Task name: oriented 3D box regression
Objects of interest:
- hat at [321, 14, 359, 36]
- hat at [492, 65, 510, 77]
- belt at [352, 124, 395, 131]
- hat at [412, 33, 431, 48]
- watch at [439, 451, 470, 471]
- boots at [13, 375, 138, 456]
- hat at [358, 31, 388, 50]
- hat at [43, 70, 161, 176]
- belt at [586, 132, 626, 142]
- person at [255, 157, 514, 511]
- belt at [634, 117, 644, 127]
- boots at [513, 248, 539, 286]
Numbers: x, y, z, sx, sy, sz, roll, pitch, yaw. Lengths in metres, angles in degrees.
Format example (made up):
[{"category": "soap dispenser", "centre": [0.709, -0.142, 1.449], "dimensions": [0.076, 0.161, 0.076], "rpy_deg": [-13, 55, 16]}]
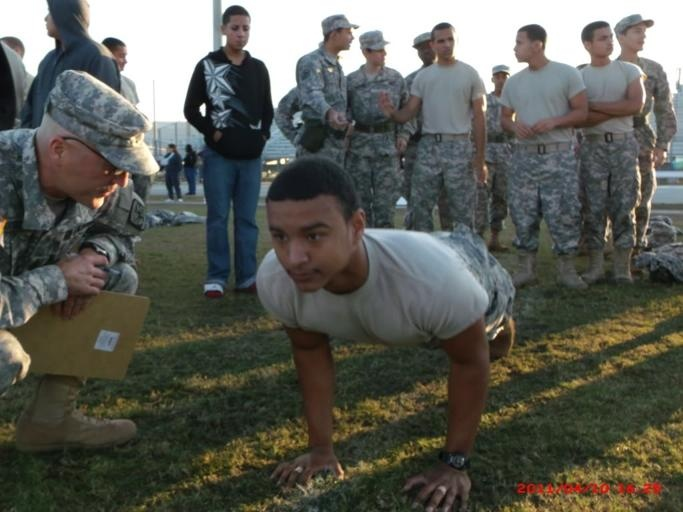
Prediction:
[{"category": "hat", "centre": [-0.019, -2.003, 5.553], "dimensions": [0.292, 0.153, 0.200], "rpy_deg": [-2, 15, -1]}, {"category": "hat", "centre": [2.173, -2.480, 8.581], "dimensions": [0.206, 0.120, 0.150], "rpy_deg": [3, 16, 18]}, {"category": "belt", "centre": [0.300, -1.135, 5.740], "dimensions": [0.353, 0.078, 0.079], "rpy_deg": [-2, 15, 0]}, {"category": "hat", "centre": [0.830, -2.160, 6.432], "dimensions": [0.170, 0.139, 0.376], "rpy_deg": [-1, 15, 7]}, {"category": "watch", "centre": [0.495, 0.866, 2.741], "dimensions": [0.101, 0.068, 0.110], "rpy_deg": [9, -8, -9]}, {"category": "boots", "centre": [-1.250, 0.765, 3.209], "dimensions": [0.658, 0.475, 0.256], "rpy_deg": [0, 7, -18]}, {"category": "hat", "centre": [0.272, -1.854, 5.505], "dimensions": [0.224, 0.165, 0.398], "rpy_deg": [-2, 15, 2]}, {"category": "hat", "centre": [-1.062, -0.579, 2.784], "dimensions": [0.431, 0.445, 0.210], "rpy_deg": [1, 15, 11]}, {"category": "belt", "centre": [2.255, -0.986, 5.392], "dimensions": [0.317, 0.082, 0.091], "rpy_deg": [11, 20, 40]}, {"category": "person", "centre": [0.237, 0.288, 2.807], "dimensions": [1.180, 1.459, 0.852], "rpy_deg": [-5, 15, -10]}, {"category": "belt", "centre": [2.908, -1.279, 6.149], "dimensions": [0.131, 0.100, 0.045], "rpy_deg": [-7, 15, -16]}, {"category": "boots", "centre": [1.585, 0.117, 5.482], "dimensions": [0.155, 0.292, 0.300], "rpy_deg": [8, 18, 34]}]
